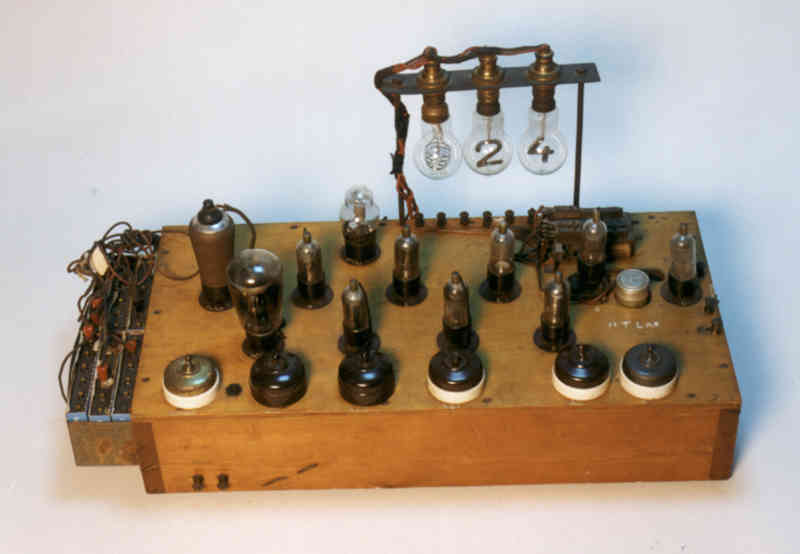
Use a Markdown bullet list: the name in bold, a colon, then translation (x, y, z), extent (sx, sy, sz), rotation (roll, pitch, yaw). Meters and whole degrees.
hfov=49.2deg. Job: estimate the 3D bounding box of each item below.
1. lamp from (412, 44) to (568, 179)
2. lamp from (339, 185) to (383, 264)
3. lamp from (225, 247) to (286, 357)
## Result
- **lamp**: translation (0.742, -1.344, 7.175), extent (1.272, 1.241, 0.439), rotation (-2, 44, 5)
- **lamp**: translation (-0.340, -0.475, 7.811), extent (0.352, 0.689, 0.341), rotation (-4, 8, -9)
- **lamp**: translation (-1.136, 0.205, 7.018), extent (0.425, 0.844, 0.311), rotation (-5, 9, -13)
